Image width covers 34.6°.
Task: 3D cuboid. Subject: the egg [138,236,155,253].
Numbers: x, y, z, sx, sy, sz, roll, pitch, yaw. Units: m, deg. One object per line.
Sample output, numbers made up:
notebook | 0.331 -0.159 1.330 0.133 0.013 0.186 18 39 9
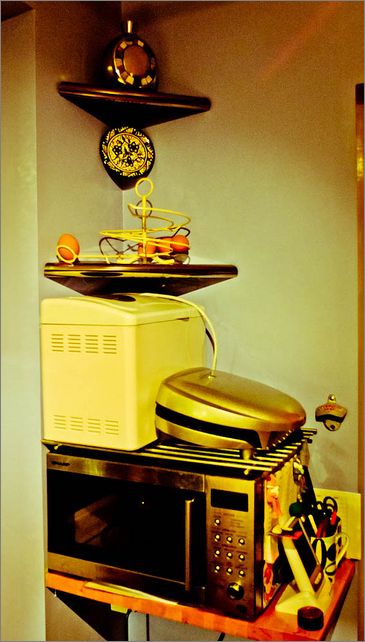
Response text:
egg | -0.093 -0.197 1.548 0.042 0.042 0.050 -6 -38 -19

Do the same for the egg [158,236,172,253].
egg | -0.051 -0.208 1.568 0.041 0.041 0.048 1 -41 -6

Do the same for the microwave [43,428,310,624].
microwave | -0.042 0.349 1.149 0.330 0.185 0.358 -3 -5 31

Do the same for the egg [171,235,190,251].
egg | -0.007 -0.209 1.580 0.044 0.045 0.045 0 -23 5
